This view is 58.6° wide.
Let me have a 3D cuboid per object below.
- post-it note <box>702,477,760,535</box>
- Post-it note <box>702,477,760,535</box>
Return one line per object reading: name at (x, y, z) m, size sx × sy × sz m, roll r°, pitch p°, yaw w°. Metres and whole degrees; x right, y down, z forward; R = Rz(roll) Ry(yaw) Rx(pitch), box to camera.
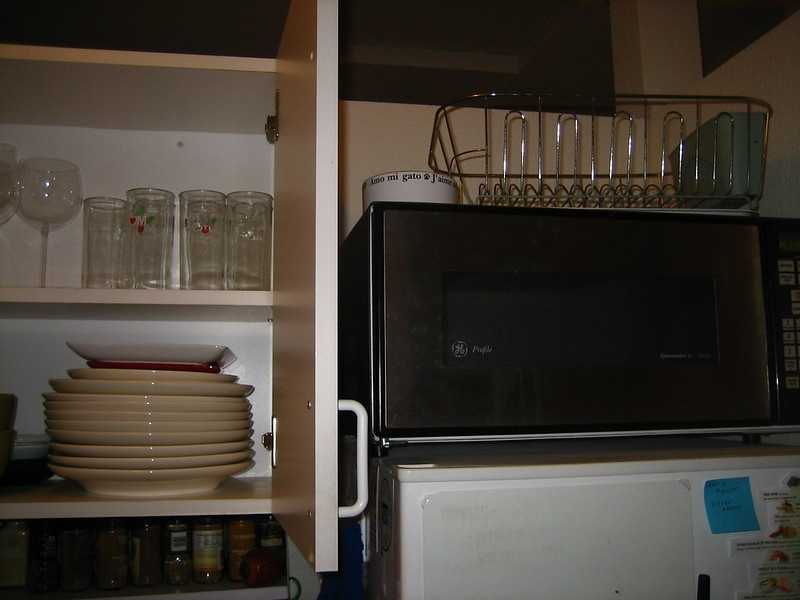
post-it note at (0.550, 0.344, 1.192) m, size 0.087 × 0.095 × 0.004 m, roll -4°, pitch -7°, yaw -9°
Post-it note at (0.550, 0.344, 1.192) m, size 0.087 × 0.095 × 0.004 m, roll -4°, pitch -7°, yaw -9°
